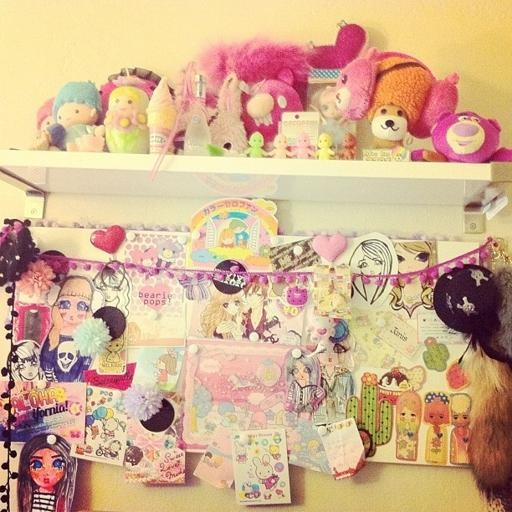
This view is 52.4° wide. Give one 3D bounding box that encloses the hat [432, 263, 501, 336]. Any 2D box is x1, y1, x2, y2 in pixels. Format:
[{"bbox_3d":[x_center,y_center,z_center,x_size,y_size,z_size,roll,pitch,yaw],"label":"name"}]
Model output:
[{"bbox_3d":[0.429,0.085,1.057,0.091,0.144,0.093,5,-13,-21],"label":"hat"}]
